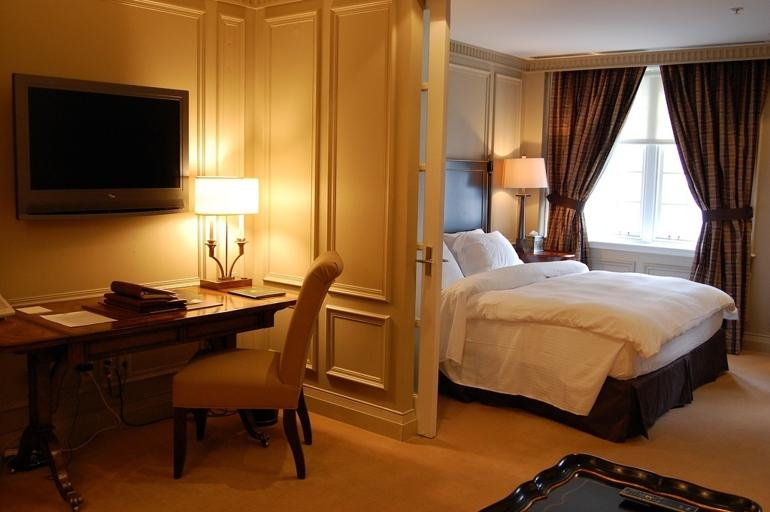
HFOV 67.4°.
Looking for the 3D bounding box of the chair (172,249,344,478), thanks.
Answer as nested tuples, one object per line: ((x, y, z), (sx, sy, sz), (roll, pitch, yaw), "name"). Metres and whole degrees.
((-0.900, 0.745, 4.091), (1.099, 1.464, 0.871), (2, 1, 4), "chair")

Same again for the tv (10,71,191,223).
((-2.081, -0.785, 4.104), (1.093, 0.947, 0.147), (-5, 11, -35), "tv")

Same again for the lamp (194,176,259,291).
((-1.262, -0.170, 4.585), (0.466, 0.808, 0.473), (-1, -1, 4), "lamp")

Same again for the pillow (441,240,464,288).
((0.597, 0.106, 5.438), (0.113, 0.381, 0.388), (-20, -20, 27), "pillow")

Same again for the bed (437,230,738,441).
((1.513, 0.645, 4.781), (1.620, 0.641, 1.687), (2, 9, 32), "bed")
